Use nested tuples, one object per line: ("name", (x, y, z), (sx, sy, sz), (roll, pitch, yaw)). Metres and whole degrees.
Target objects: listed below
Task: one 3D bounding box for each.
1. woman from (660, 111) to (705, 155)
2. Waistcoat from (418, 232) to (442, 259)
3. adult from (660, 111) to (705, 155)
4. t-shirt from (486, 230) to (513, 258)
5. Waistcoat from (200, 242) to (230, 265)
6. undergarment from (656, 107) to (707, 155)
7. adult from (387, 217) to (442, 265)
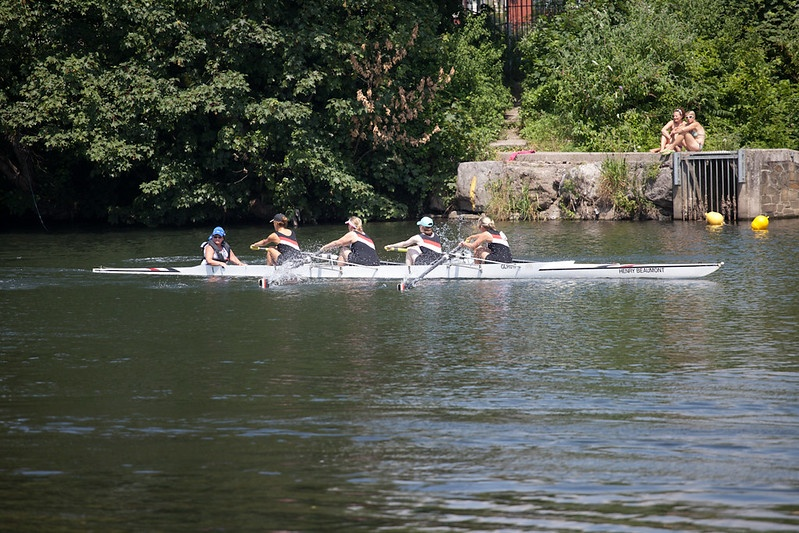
("woman", (8.614, -4.112, 40.118), (1.584, 1.155, 0.711), (-4, 16, -27))
("Waistcoat", (0.697, -0.478, 31.450), (0.662, 0.714, 0.431), (-10, 1, 1))
("adult", (8.595, -4.117, 40.123), (1.604, 1.163, 0.741), (-3, 16, -26))
("t-shirt", (2.481, -0.485, 31.199), (0.709, 0.723, 0.602), (-2, 3, 27))
("Waistcoat", (-4.531, -0.307, 32.221), (0.387, 0.600, 0.525), (-14, 3, 35))
("undergarment", (8.523, -4.009, 40.279), (1.790, 1.262, 0.977), (2, 2, -32))
("adult", (0.377, -0.625, 34.405), (1.088, 1.445, 1.167), (-18, 42, -37))
